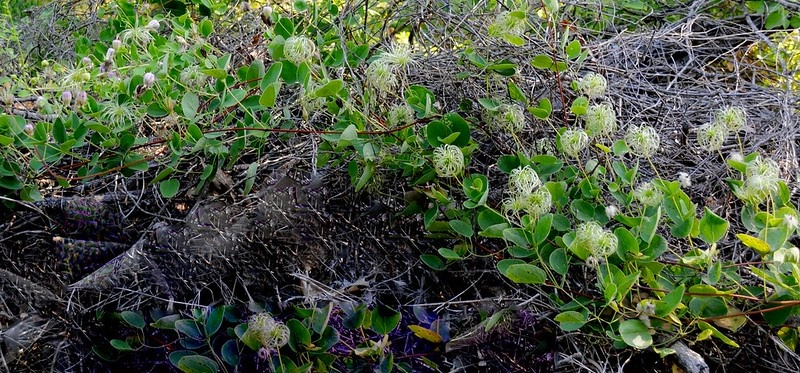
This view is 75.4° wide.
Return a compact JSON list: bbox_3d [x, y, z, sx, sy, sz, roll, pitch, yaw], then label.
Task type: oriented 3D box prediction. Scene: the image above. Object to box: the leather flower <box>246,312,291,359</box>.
[{"bbox_3d":[-0.414,0.456,1.619,0.114,0.072,0.139,-42,79,-5],"label":"leather flower"}]
